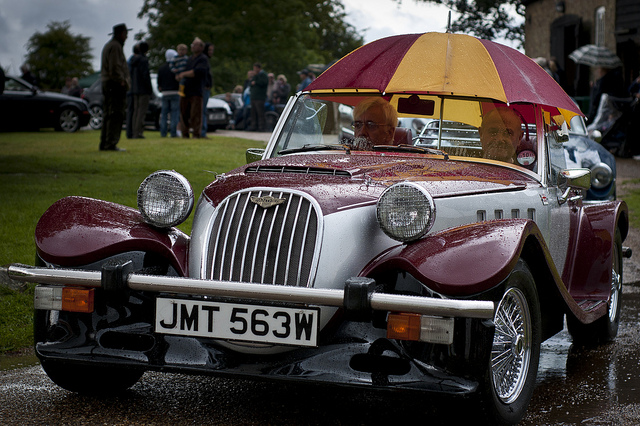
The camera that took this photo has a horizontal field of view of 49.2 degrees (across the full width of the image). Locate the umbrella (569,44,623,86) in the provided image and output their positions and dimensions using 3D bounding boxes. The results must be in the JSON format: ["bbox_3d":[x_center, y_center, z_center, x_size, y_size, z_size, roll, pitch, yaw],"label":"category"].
[{"bbox_3d":[8.431,-4.606,21.208,1.123,1.234,1.186,0,3,-23],"label":"umbrella"}]

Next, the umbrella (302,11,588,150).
[{"bbox_3d":[1.076,-1.171,5.412,1.618,0.958,1.775,7,0,3],"label":"umbrella"}]

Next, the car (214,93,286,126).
[{"bbox_3d":[-2.356,-3.648,24.663,2.206,0.930,1.472,1,9,16],"label":"car"}]

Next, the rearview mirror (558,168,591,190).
[{"bbox_3d":[2.231,-0.292,6.170,0.283,0.199,0.132,-1,9,-34],"label":"rearview mirror"}]

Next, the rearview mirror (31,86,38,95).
[{"bbox_3d":[-3.961,-1.692,9.705,0.067,0.112,0.031,6,4,10],"label":"rearview mirror"}]

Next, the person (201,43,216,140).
[{"bbox_3d":[-2.562,-2.765,16.055,0.338,1.652,1.429,-4,39,-10],"label":"person"}]

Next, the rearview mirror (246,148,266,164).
[{"bbox_3d":[-0.571,-0.505,6.209,0.161,0.117,0.416,0,9,-6],"label":"rearview mirror"}]

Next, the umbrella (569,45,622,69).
[{"bbox_3d":[8.347,-4.705,21.151,1.251,0.593,1.244,-13,28,-43],"label":"umbrella"}]

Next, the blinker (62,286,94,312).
[{"bbox_3d":[-1.677,0.571,4.813,0.208,0.171,0.138,5,17,0],"label":"blinker"}]
